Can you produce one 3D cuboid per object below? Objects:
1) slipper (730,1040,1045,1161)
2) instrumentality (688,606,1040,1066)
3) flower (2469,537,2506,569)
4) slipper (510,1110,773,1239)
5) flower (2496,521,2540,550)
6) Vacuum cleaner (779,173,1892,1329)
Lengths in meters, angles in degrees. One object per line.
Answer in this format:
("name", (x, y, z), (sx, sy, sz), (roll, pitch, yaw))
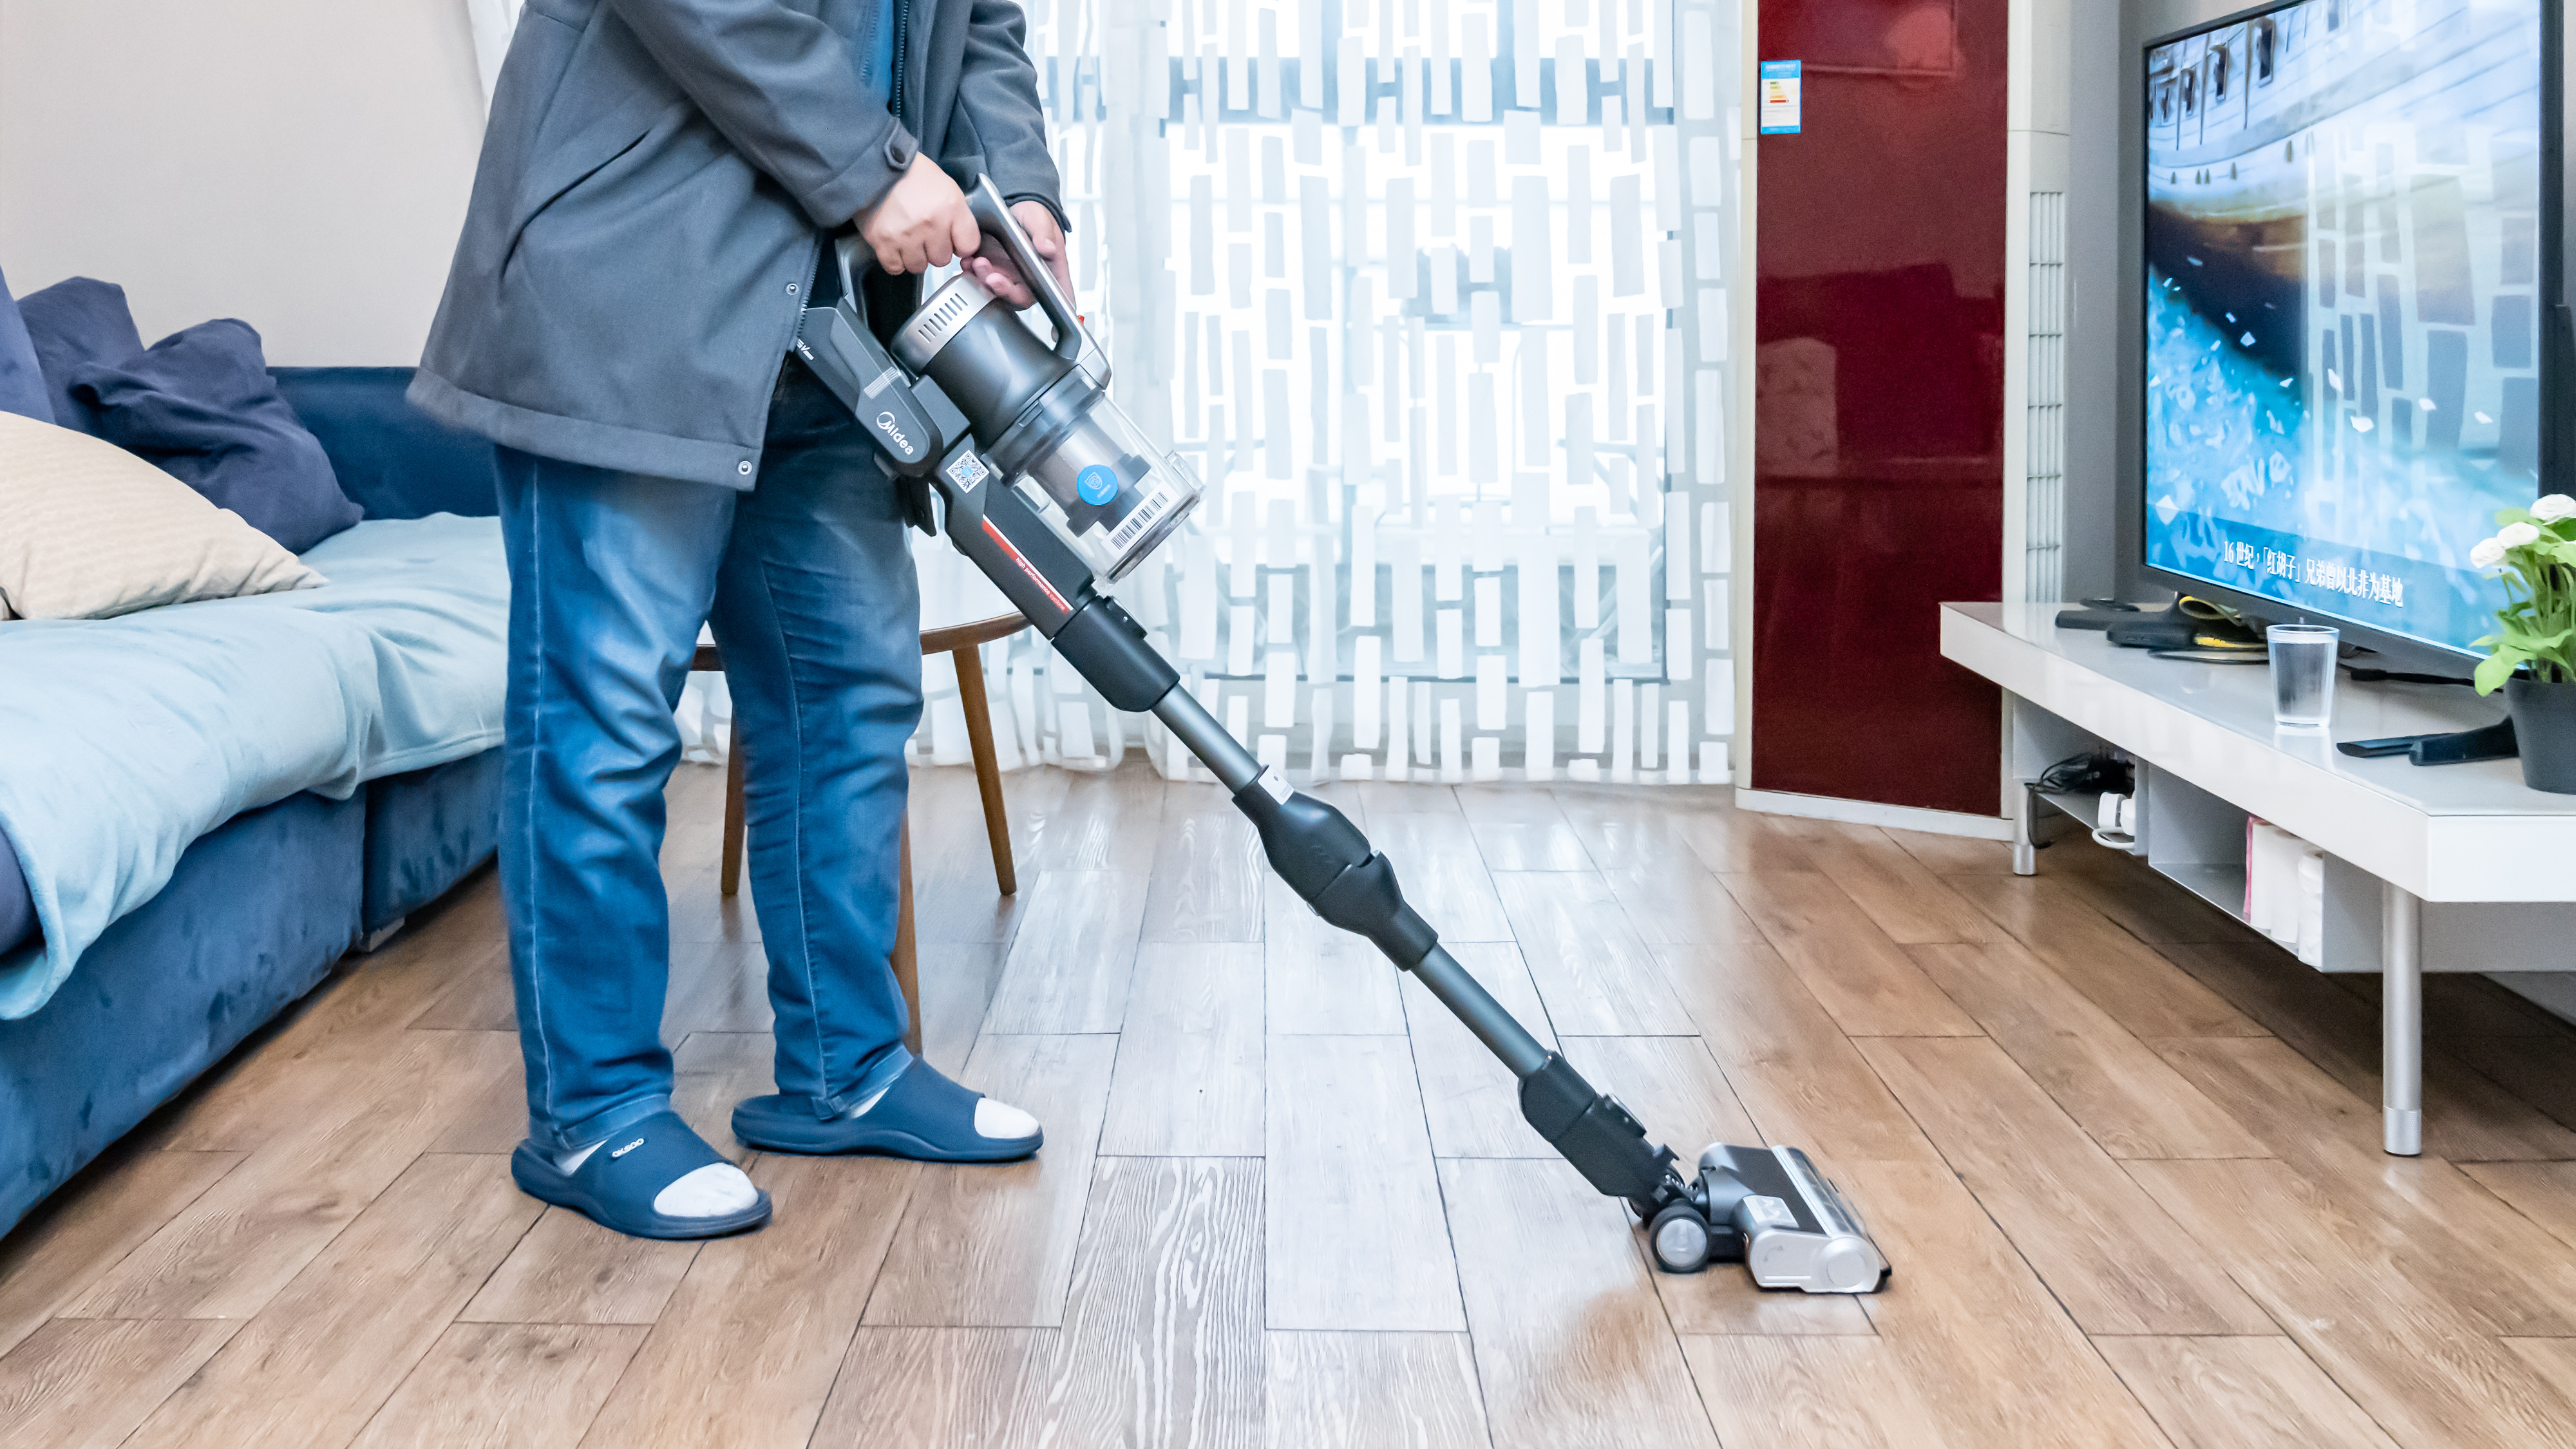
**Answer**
("slipper", (-0.609, 0.579, 2.642), (0.430, 0.140, 0.175), (1, -2, 6))
("instrumentality", (-0.763, 0.201, 3.173), (0.709, 0.905, 0.772), (-2, 1, 0))
("flower", (1.712, -0.236, 2.486), (0.050, 0.051, 0.020), (-6, -16, 43))
("slipper", (-0.919, 0.599, 2.446), (0.323, 0.115, 0.159), (9, 7, 21))
("flower", (1.729, -0.262, 2.439), (0.047, 0.036, 0.019), (1, 18, 12))
("Vacuum cleaner", (0.152, -0.016, 3.155), (0.407, 2.089, 0.514), (-38, -1, -43))
